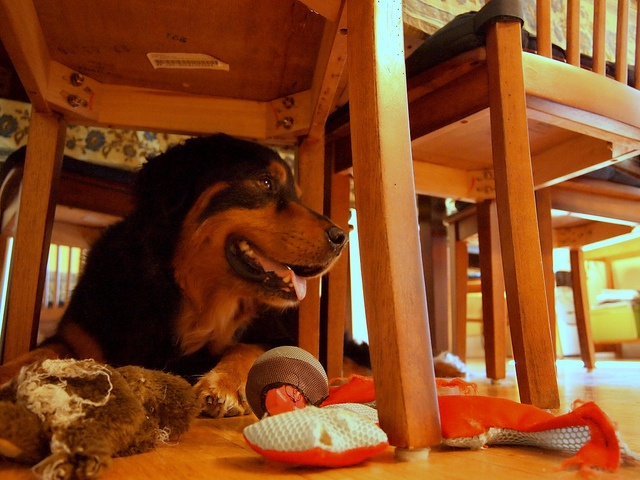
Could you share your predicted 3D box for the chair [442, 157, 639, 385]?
[{"bbox_3d":[0.918,0.119,2.733,0.995,1.013,0.985,-1,-5,-45],"label":"chair"}]
